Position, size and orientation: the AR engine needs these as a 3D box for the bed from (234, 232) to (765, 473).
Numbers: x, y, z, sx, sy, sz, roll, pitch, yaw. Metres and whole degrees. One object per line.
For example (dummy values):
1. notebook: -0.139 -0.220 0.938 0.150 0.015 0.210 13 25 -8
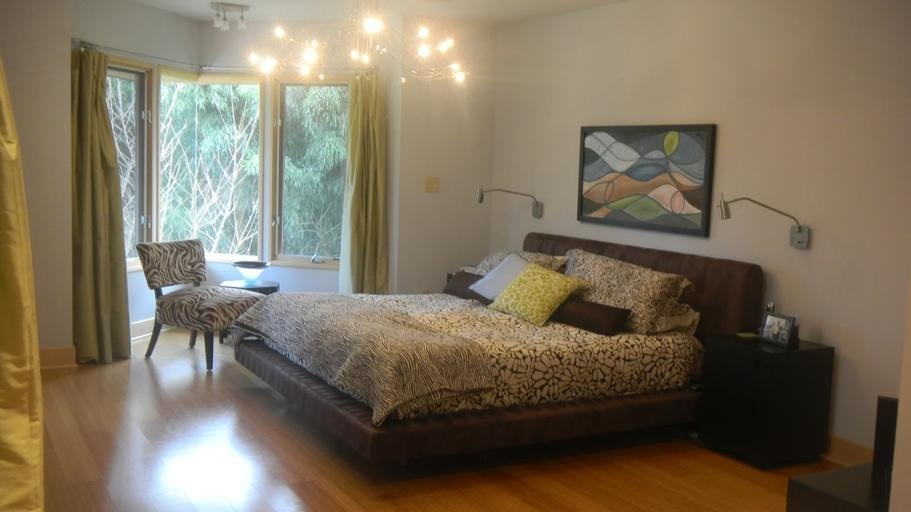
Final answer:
1. bed: 0.682 0.831 5.054 2.655 0.826 2.442 -2 9 -24

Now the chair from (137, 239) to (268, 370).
1. chair: -2.742 0.492 6.666 1.153 1.153 0.919 8 10 25

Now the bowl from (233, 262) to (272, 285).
1. bowl: -2.298 0.201 6.845 0.301 0.155 0.293 -1 5 0

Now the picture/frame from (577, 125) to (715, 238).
1. picture/frame: 1.900 -0.719 5.896 1.169 0.833 0.048 8 7 43

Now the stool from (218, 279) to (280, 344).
1. stool: -2.391 0.564 6.898 0.779 0.670 0.751 1 3 32

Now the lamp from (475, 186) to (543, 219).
1. lamp: 0.597 -0.614 7.015 1.022 0.468 0.301 1 3 0

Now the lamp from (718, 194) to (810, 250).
1. lamp: 2.579 -0.274 5.113 0.735 0.397 0.235 11 -9 1

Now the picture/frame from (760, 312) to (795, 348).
1. picture/frame: 2.650 0.606 4.948 0.158 0.270 0.285 6 3 -20
